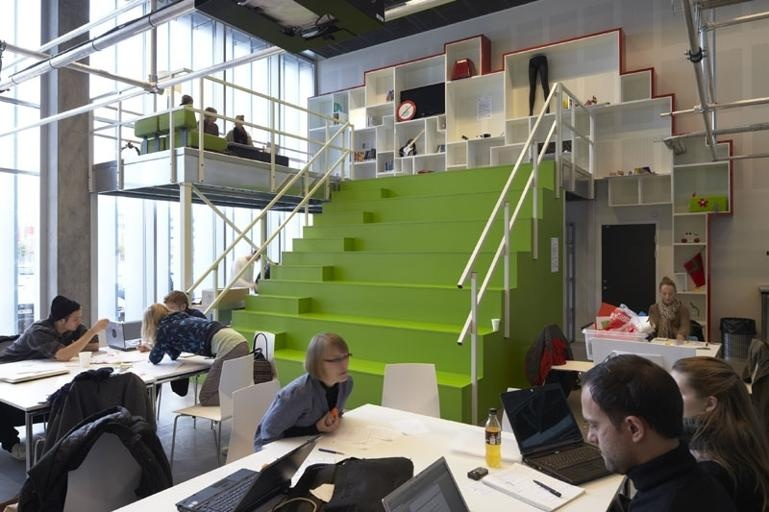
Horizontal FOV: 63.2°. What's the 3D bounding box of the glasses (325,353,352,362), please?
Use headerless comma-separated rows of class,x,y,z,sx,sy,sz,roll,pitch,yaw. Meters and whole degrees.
glasses,-0.350,0.792,4.889,0.221,0.066,0.091,2,-3,-37

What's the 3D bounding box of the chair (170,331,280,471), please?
chair,-1.735,1.533,6.918,1.243,1.857,1.091,-1,-4,17

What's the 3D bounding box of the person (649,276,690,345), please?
person,3.447,0.728,7.651,0.496,0.873,0.586,-3,-1,34

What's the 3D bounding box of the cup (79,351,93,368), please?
cup,-2.952,1.026,6.162,0.146,0.147,0.143,-1,-7,0

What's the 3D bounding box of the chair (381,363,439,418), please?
chair,0.237,1.216,5.828,0.446,0.767,0.509,0,-2,-7

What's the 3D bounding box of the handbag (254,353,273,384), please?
handbag,-1.269,1.204,6.708,0.242,0.344,0.360,0,-10,-11

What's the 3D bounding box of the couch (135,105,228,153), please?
couch,-2.766,-1.607,8.215,1.160,0.527,0.550,0,-2,9

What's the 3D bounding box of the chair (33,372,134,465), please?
chair,-2.306,1.261,4.836,0.848,0.816,0.464,0,-6,-10

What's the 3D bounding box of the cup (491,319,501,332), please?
cup,1.188,0.736,6.707,0.116,0.116,0.115,1,-7,0

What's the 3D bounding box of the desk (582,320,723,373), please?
desk,2.634,0.927,6.400,0.740,0.455,0.727,-1,-1,31

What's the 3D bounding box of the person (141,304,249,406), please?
person,-1.956,1.050,6.568,1.449,0.983,0.608,7,5,17
